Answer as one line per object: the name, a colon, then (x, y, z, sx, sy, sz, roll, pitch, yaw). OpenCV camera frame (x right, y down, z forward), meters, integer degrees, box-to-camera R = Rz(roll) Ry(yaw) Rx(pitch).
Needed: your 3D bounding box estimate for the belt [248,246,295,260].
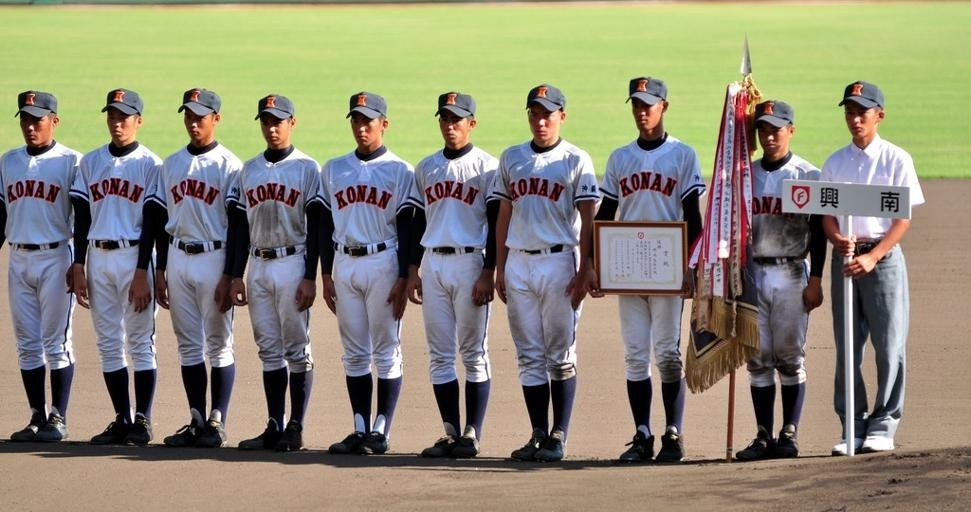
belt: (-4.530, -0.102, 45.905, 1.017, 0.252, 0.148, -2, 7, -5)

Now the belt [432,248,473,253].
belt: (-0.657, -0.140, 45.681, 0.865, 0.130, 0.073, -2, 7, -1)

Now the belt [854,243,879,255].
belt: (8.214, -0.172, 45.337, 0.359, 0.077, 0.349, -21, 8, -34)
